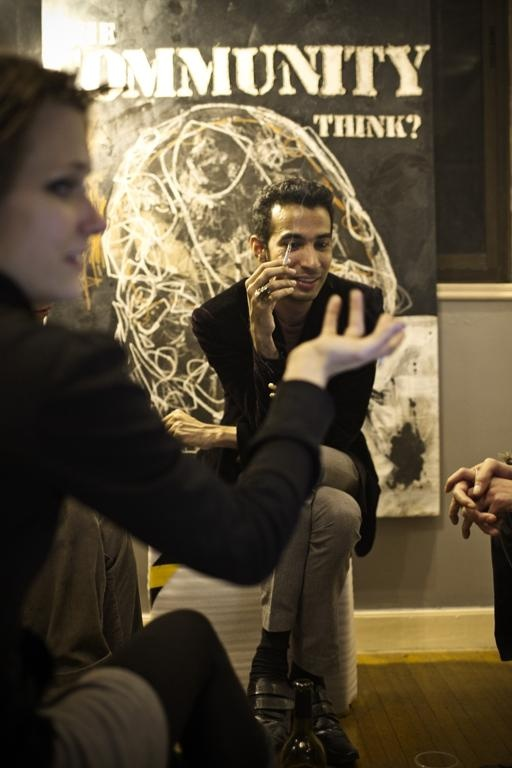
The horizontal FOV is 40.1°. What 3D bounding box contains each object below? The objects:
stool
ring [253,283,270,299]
[{"bbox_3d":[-0.014,0.499,1.671,0.386,0.484,0.421,2,-10,-5],"label":"stool"},{"bbox_3d":[0.019,-0.263,1.995,0.028,0.042,0.019,25,1,20],"label":"ring"}]
